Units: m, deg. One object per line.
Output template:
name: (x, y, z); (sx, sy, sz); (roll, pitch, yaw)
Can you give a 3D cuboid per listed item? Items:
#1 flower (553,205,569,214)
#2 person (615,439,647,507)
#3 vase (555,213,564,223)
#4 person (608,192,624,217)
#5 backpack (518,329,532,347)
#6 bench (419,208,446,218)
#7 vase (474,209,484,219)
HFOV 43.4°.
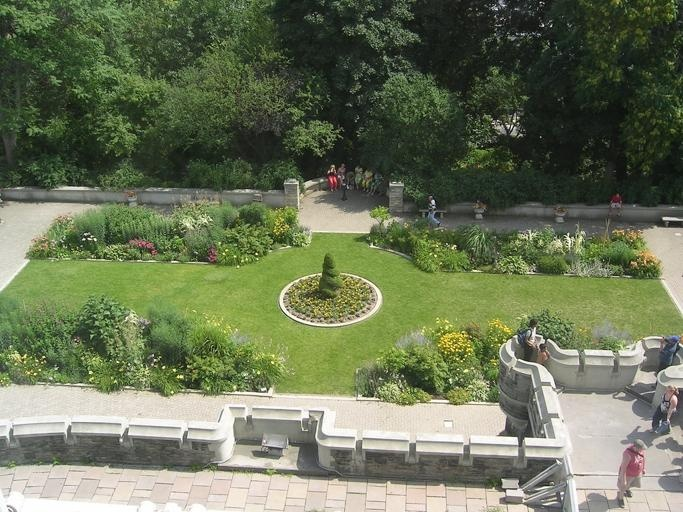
flower: (12.024, -2.399, 46.650); (0.670, 0.526, 0.634); (3, 21, 1)
person: (9.345, 7.030, 27.810); (1.045, 1.874, 0.547); (-13, 25, -36)
vase: (11.897, -1.985, 46.472); (0.315, 0.430, 0.379); (1, 4, 11)
person: (15.046, -2.715, 46.543); (1.009, 1.244, 0.615); (-15, 26, -38)
backpack: (6.695, 2.978, 31.208); (0.468, 0.606, 0.337); (7, 20, 12)
bench: (5.036, -2.350, 47.057); (1.187, 0.589, 0.427); (3, 0, 8)
vase: (7.569, -2.298, 47.067); (0.459, 0.539, 0.487); (-3, 7, 0)
